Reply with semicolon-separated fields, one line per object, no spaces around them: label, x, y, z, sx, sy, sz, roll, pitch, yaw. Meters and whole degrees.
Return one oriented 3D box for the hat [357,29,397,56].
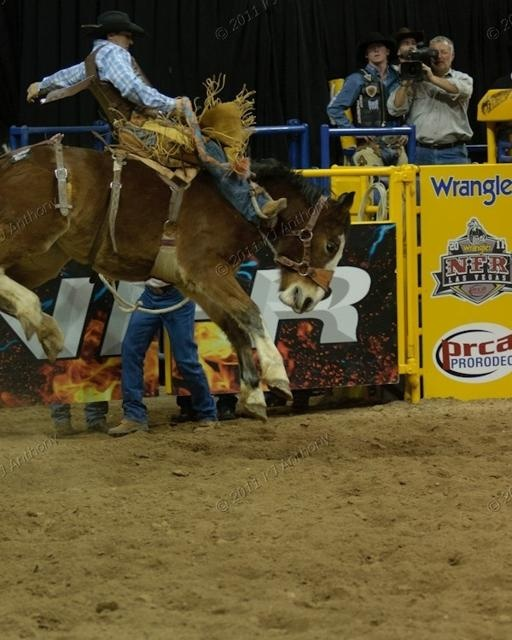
hat;1.195;-2.758;7.627;0.335;0.110;0.325;-1;-22;10

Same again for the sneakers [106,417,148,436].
sneakers;-0.846;0.718;5.067;0.293;0.097;0.093;1;-5;-22

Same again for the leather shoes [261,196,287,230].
leather shoes;0.077;-0.570;4.107;0.136;0.082;0.185;21;-45;-13

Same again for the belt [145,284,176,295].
belt;-0.623;-0.197;5.035;0.129;0.046;0.090;4;-9;-38

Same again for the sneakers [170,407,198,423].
sneakers;-0.530;0.722;5.686;0.269;0.080;0.076;1;-8;2
